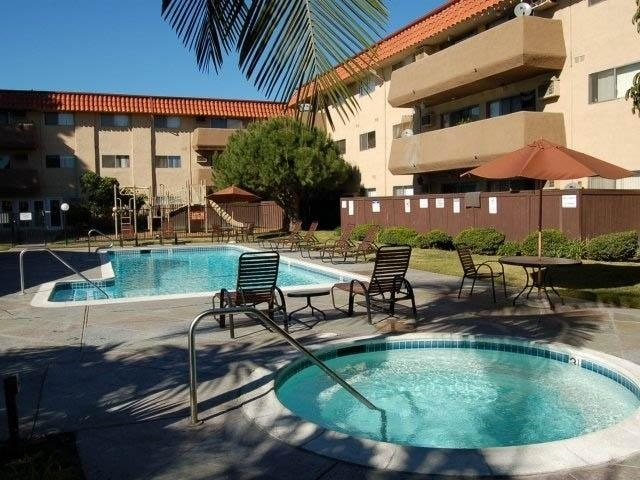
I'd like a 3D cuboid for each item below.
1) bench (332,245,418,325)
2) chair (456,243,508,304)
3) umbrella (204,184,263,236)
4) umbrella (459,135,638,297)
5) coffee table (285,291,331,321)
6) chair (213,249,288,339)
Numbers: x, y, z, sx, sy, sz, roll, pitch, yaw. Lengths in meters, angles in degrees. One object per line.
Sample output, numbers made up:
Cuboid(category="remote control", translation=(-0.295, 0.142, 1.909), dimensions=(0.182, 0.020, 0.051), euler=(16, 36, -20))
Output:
Cuboid(category="bench", translation=(0.998, 0.794, 9.249), dimensions=(1.005, 1.411, 2.074), euler=(-3, 3, -19))
Cuboid(category="chair", translation=(3.271, 0.649, 9.732), dimensions=(0.788, 1.050, 0.837), euler=(-3, 1, -42))
Cuboid(category="umbrella", translation=(-6.082, -2.074, 32.256), dimensions=(3.199, 2.543, 3.452), euler=(1, 7, 12))
Cuboid(category="umbrella", translation=(4.534, -0.643, 9.885), dimensions=(2.642, 2.434, 2.592), euler=(0, 6, 17))
Cuboid(category="coffee table", translation=(-0.183, 1.201, 8.887), dimensions=(0.792, 0.495, 0.784), euler=(-5, -2, -18))
Cuboid(category="chair", translation=(-1.276, 0.894, 8.379), dimensions=(1.022, 1.272, 1.889), euler=(-1, 0, -25))
